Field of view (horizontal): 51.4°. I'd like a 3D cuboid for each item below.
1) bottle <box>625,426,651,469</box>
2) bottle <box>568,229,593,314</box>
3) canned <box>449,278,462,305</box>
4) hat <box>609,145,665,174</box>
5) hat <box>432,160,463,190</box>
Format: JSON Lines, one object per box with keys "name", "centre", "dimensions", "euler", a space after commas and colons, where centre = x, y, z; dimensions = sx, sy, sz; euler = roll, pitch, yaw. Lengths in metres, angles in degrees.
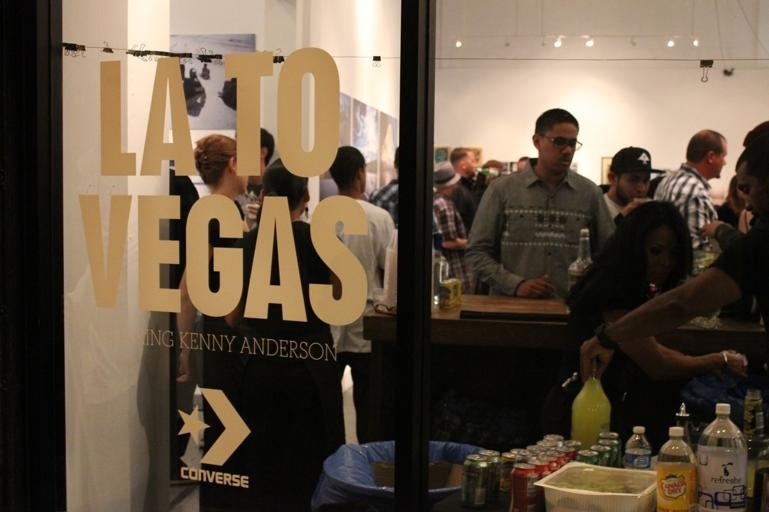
{"name": "bottle", "centre": [1.002, 0.731, 3.147], "dimensions": [0.123, 0.165, 0.113], "euler": [1, 5, 0]}
{"name": "bottle", "centre": [0.781, 0.044, 3.211], "dimensions": [0.089, 0.317, 0.017], "euler": [1, 5, -3]}
{"name": "canned", "centre": [0.292, 0.141, 3.268], "dimensions": [0.070, 0.149, 0.076], "euler": [0, 5, 3]}
{"name": "hat", "centre": [0.989, -0.377, 3.160], "dimensions": [0.138, 0.092, 0.105], "euler": [1, 4, 23]}
{"name": "hat", "centre": [0.254, -0.328, 3.261], "dimensions": [0.095, 0.047, 0.098], "euler": [-25, 26, 16]}
